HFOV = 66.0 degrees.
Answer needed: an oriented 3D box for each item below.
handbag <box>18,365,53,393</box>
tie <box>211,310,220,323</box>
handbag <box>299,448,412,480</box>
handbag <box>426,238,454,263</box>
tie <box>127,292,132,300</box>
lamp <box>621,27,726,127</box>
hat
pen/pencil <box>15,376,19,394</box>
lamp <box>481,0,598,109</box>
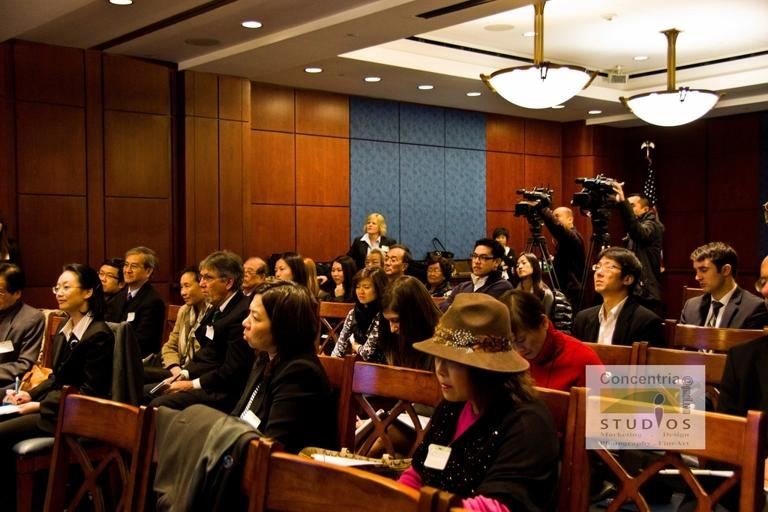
[{"bbox_3d":[-2.479,0.880,4.201,0.069,0.188,0.188,37,36,-13],"label":"handbag"},{"bbox_3d":[-1.325,0.466,4.645,0.038,0.096,0.070,17,3,-37],"label":"tie"},{"bbox_3d":[-0.113,0.787,2.242,0.305,0.084,0.320,5,-8,2],"label":"handbag"},{"bbox_3d":[0.870,-0.084,9.347,0.418,0.514,0.550,-1,-11,9],"label":"handbag"},{"bbox_3d":[-2.351,0.366,5.467,0.053,0.076,0.022,-5,-14,21],"label":"tie"},{"bbox_3d":[3.639,-2.287,7.321,0.925,1.138,1.336,3,1,35],"label":"lamp"},{"bbox_3d":[0.336,0.291,2.283,0.322,0.181,0.343,9,-8,-10],"label":"hat"},{"bbox_3d":[-2.537,0.892,4.081,0.021,0.086,0.017,1,26,-44],"label":"pen/pencil"},{"bbox_3d":[1.687,-2.170,6.437,1.138,1.445,1.176,0,-3,25],"label":"lamp"}]
